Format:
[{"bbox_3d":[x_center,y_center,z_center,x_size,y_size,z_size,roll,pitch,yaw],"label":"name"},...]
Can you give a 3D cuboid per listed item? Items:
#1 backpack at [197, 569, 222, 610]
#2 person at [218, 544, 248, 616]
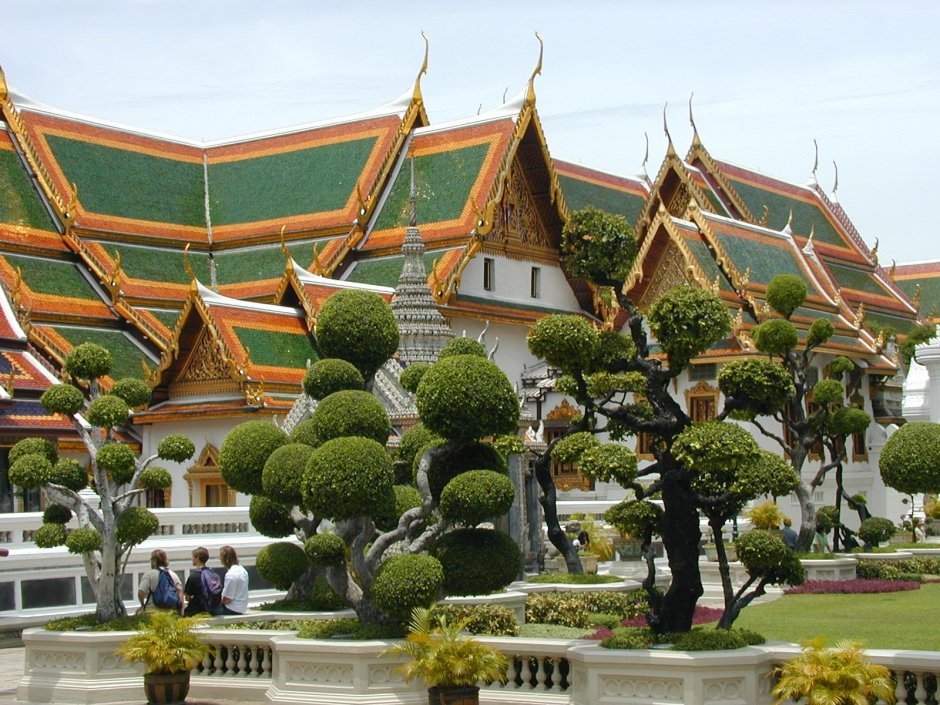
[{"bbox_3d":[-3.172,2.873,19.824,0.275,0.525,0.326,-16,-17,32],"label":"backpack"},{"bbox_3d":[-2.902,2.784,20.092,0.310,0.871,0.729,-2,-11,-9],"label":"person"}]
